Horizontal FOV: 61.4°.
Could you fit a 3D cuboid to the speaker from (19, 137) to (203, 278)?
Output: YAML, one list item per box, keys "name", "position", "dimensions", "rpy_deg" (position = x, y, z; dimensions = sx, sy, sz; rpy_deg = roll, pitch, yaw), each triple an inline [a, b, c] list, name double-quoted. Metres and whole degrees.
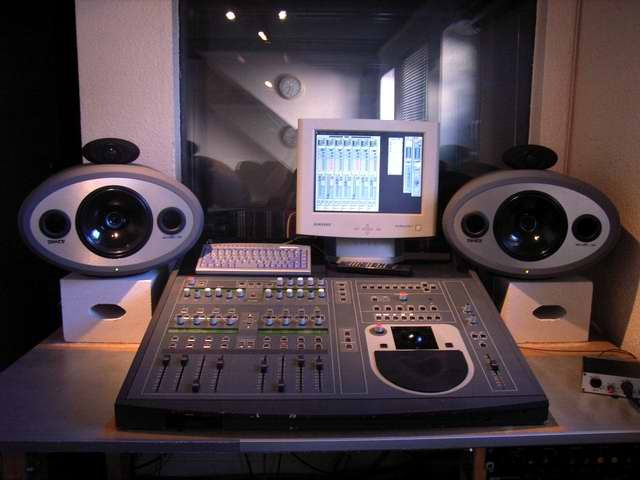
- name: "speaker"
  position: [-0.777, -0.117, 2.146]
  dimensions: [0.640, 0.504, 0.360]
  rpy_deg: [-2, 5, -7]

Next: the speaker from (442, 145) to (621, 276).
- name: "speaker"
  position: [0.825, -0.111, 2.192]
  dimensions: [0.635, 0.491, 0.360]
  rpy_deg: [0, 12, 9]

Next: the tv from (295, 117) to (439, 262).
- name: "tv"
  position: [0.193, -0.225, 2.304]
  dimensions: [0.588, 0.598, 0.320]
  rpy_deg: [0, 14, -4]

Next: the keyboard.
- name: "keyboard"
  position: [-0.255, 0.081, 2.122]
  dimensions: [0.428, 0.118, 0.136]
  rpy_deg: [3, 4, -1]
